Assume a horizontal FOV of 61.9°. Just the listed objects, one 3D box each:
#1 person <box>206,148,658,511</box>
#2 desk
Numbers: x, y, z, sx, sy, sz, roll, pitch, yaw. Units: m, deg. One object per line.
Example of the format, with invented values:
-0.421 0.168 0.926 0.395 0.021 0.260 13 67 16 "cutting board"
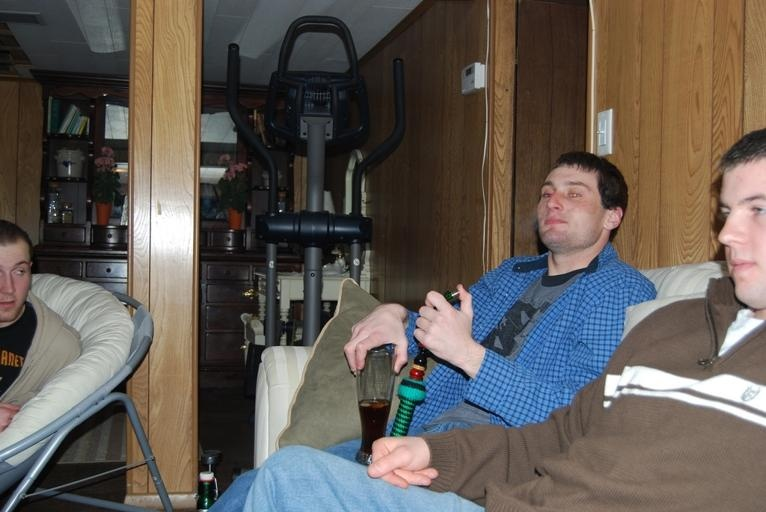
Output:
0.150 0.121 2.494 1.694 1.046 0.869 -3 6 -15 "person"
-0.498 0.328 4.591 0.791 0.945 0.641 0 7 -18 "desk"
